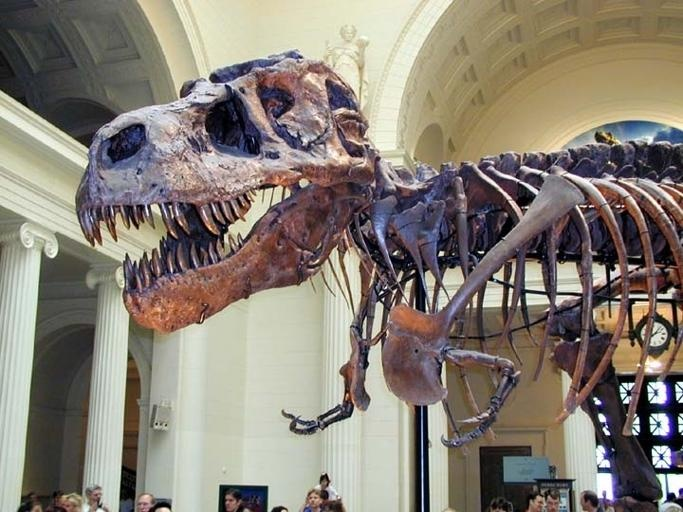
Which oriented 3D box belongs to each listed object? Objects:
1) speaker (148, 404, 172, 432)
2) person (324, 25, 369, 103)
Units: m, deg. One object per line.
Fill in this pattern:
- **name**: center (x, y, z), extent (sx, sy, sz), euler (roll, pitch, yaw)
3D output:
- **speaker**: center (-3.472, 3.055, 11.970), extent (0.394, 0.511, 0.234), euler (3, -20, -13)
- **person**: center (0.088, -4.053, 13.049), extent (0.890, 1.876, 0.689), euler (0, -19, -4)
